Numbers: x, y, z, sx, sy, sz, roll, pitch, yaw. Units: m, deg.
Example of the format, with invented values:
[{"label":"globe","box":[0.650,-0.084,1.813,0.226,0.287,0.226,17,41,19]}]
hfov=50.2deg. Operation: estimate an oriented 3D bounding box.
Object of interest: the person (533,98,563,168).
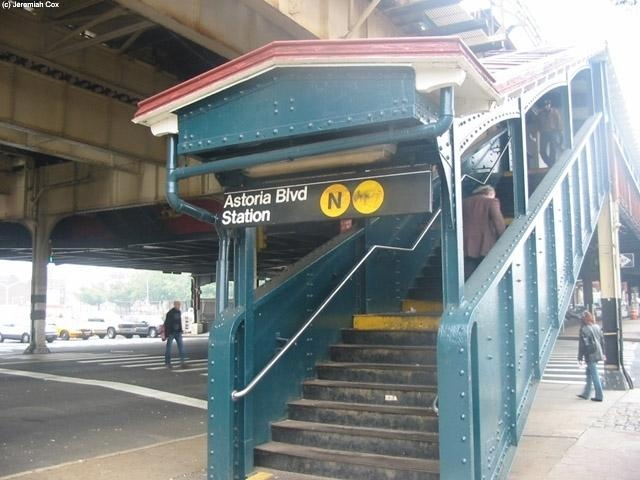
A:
[{"label":"person","box":[5.790,-2.649,17.178,0.560,1.586,1.035,-2,-8,19]}]

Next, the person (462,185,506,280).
[{"label":"person","box":[2.695,-0.176,11.268,0.712,1.517,0.538,-3,-8,23]}]

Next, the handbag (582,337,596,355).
[{"label":"handbag","box":[5.765,2.256,14.584,0.248,0.505,0.277,10,-17,-34]}]

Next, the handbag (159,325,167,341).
[{"label":"handbag","box":[-4.646,2.737,20.318,0.179,0.443,0.414,2,-7,-12]}]
